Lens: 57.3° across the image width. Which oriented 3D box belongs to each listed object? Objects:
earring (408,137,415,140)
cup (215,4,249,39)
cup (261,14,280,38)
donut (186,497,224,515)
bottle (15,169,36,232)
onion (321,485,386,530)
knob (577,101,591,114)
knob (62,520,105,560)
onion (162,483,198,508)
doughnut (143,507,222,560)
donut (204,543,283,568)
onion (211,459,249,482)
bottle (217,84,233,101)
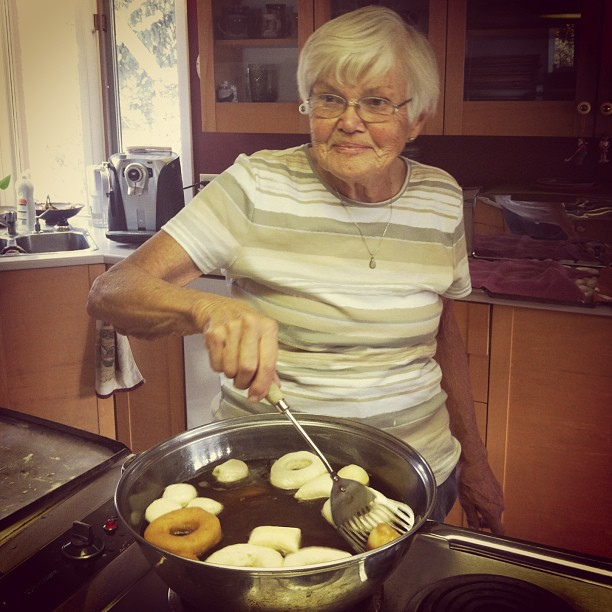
[{"bbox_3d":[0.204,-0.325,1.090,0.010,0.002,0.009,3,7,30],"label":"earring"},{"bbox_3d":[-0.281,-1.130,2.258,0.162,0.127,0.130,-1,8,-4],"label":"cup"},{"bbox_3d":[-0.146,-1.091,2.200,0.099,0.089,0.088,-4,23,-10],"label":"cup"},{"bbox_3d":[-0.108,0.219,0.621,0.023,0.006,0.020,4,1,25],"label":"donut"},{"bbox_3d":[-1.303,-0.484,2.597,0.082,0.277,0.161,-5,11,-25],"label":"bottle"},{"bbox_3d":[0.042,0.213,0.644,0.074,0.039,0.064,-7,13,-40],"label":"onion"},{"bbox_3d":[0.916,-0.654,1.846,0.044,0.038,0.011,5,14,24],"label":"knob"},{"bbox_3d":[-0.227,0.239,0.575,0.035,0.021,0.033,-1,-3,21],"label":"knob"},{"bbox_3d":[-0.144,0.216,0.641,0.024,0.009,0.023,11,6,31],"label":"onion"},{"bbox_3d":[-0.123,0.225,0.552,0.062,0.025,0.079,5,10,27],"label":"doughnut"},{"bbox_3d":[-0.055,0.227,0.509,0.059,0.014,0.053,2,-1,-9],"label":"donut"},{"bbox_3d":[-0.093,0.205,0.699,0.045,0.014,0.036,-8,12,-42],"label":"onion"},{"bbox_3d":[-0.334,-0.879,2.306,0.077,0.062,0.052,2,12,0],"label":"bottle"}]
